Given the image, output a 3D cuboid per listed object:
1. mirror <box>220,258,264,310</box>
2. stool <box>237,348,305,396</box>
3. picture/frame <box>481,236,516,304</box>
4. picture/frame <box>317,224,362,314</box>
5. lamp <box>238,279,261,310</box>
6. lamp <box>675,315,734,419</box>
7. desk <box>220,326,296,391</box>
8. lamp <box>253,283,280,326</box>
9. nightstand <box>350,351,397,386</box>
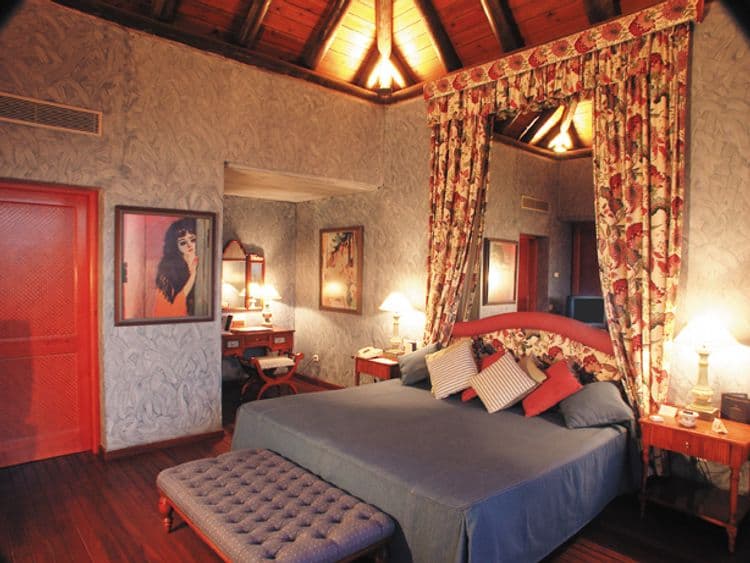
[{"bbox_3d":[-2.029,0.031,7.825,0.755,0.853,0.072,-1,3,-44],"label":"mirror"},{"bbox_3d":[-1.447,1.353,7.379,0.908,0.620,0.967,-7,-8,10],"label":"stool"},{"bbox_3d":[1.654,-0.168,7.128,0.063,0.978,0.888,3,4,42],"label":"picture/frame"},{"bbox_3d":[-0.555,-0.190,7.803,0.027,1.329,1.077,-1,3,-39],"label":"picture/frame"},{"bbox_3d":[-1.918,0.220,8.016,0.356,0.502,0.367,0,2,-11],"label":"lamp"},{"bbox_3d":[2.791,0.756,4.442,0.514,0.775,0.528,8,-9,-13],"label":"lamp"},{"bbox_3d":[-1.694,1.163,7.477,1.158,1.034,1.172,-4,1,-26],"label":"desk"},{"bbox_3d":[-1.696,0.369,8.149,0.423,0.645,0.422,-2,-2,40],"label":"lamp"},{"bbox_3d":[0.025,1.043,6.469,0.416,0.530,0.546,-2,4,-36],"label":"nightstand"}]
